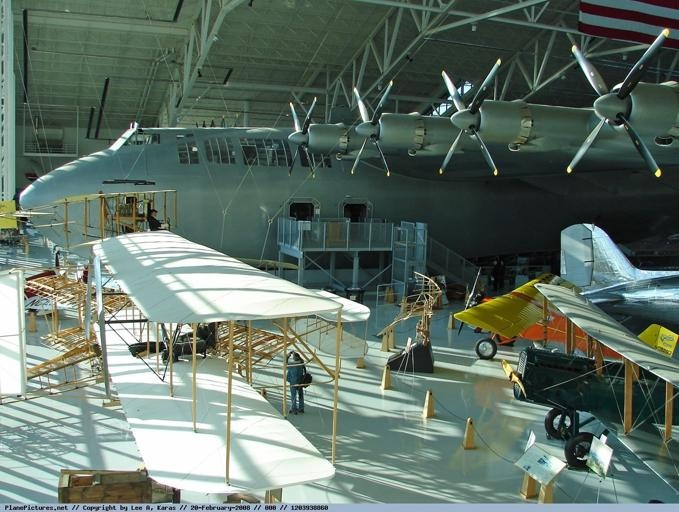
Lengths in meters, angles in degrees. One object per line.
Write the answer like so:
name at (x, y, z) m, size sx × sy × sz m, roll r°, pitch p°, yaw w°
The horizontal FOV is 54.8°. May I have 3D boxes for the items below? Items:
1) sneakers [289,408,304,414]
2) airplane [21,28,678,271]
sneakers at (-1.224, 4.534, 19.138) m, size 0.471 × 0.149 × 0.140 m, roll 4°, pitch 6°, yaw 6°
airplane at (1.854, -3.910, 28.152) m, size 19.785 × 5.807 × 17.700 m, roll 0°, pitch 9°, yaw -27°
